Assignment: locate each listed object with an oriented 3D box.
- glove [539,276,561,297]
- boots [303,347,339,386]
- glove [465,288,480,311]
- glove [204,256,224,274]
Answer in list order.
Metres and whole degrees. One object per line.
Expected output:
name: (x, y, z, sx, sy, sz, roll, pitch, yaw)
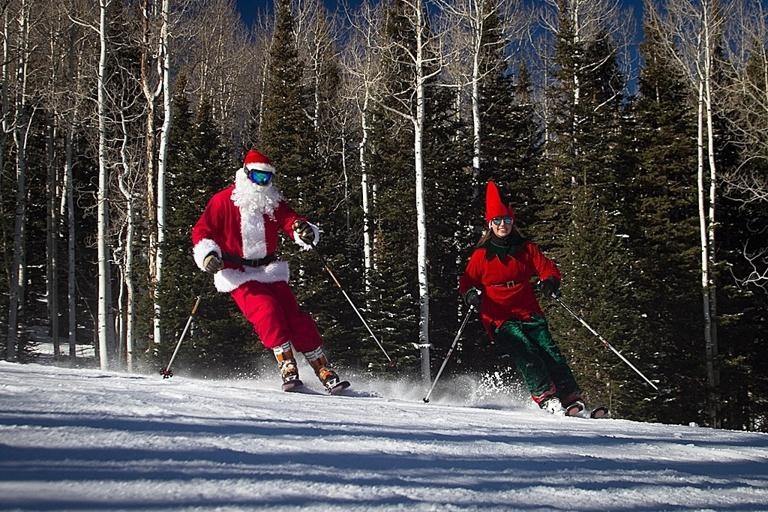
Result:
glove: (5.213, 0.963, 29.888, 0.628, 0.451, 0.592, -3, 6, -32)
boots: (-1.867, 3.537, 29.158, 0.360, 0.785, 0.941, -30, -28, 5)
glove: (2.814, 1.359, 29.840, 0.452, 0.345, 0.577, 8, -36, -5)
glove: (-5.315, 0.237, 28.755, 0.577, 0.574, 0.450, -5, 2, 16)
